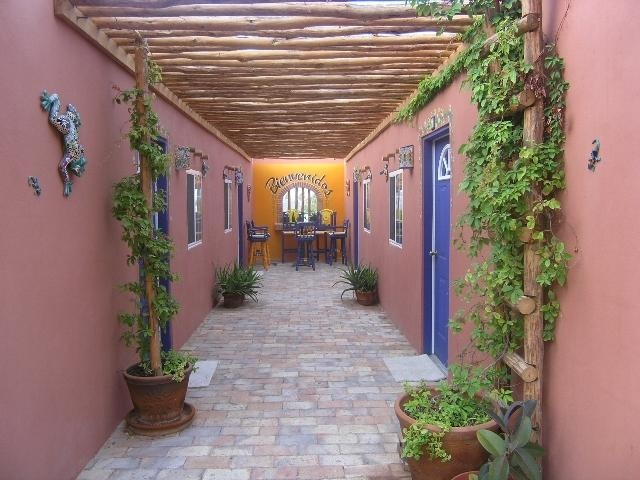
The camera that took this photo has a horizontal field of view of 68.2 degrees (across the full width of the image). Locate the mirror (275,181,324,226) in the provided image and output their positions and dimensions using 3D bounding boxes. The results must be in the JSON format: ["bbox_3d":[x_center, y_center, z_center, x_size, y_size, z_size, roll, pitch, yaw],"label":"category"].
[{"bbox_3d":[-0.694,-1.121,13.938,1.208,1.514,0.141,1,-2,-7],"label":"mirror"}]

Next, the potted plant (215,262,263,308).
[{"bbox_3d":[-1.434,0.756,8.115,0.654,0.541,0.678,0,2,-3],"label":"potted plant"}]

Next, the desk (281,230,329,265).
[{"bbox_3d":[-0.535,0.165,13.925,1.138,1.242,0.934,0,-2,-2],"label":"desk"}]

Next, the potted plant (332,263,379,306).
[{"bbox_3d":[0.668,0.738,8.343,0.685,0.739,0.714,1,9,13],"label":"potted plant"}]

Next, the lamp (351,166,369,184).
[{"bbox_3d":[0.830,-1.404,9.939,0.331,0.138,0.346,-1,-2,-25],"label":"lamp"}]

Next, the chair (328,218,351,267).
[{"bbox_3d":[0.483,0.020,13.441,0.600,1.287,1.646,0,4,0],"label":"chair"}]

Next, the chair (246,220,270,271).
[{"bbox_3d":[-1.707,0.169,12.654,0.560,1.392,1.275,0,1,0],"label":"chair"}]

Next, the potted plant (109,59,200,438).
[{"bbox_3d":[-1.426,0.004,4.088,0.598,3.102,0.952,-1,4,-13],"label":"potted plant"}]

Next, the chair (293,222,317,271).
[{"bbox_3d":[-0.418,0.134,12.765,0.648,1.402,0.675,-2,-3,44],"label":"chair"}]
